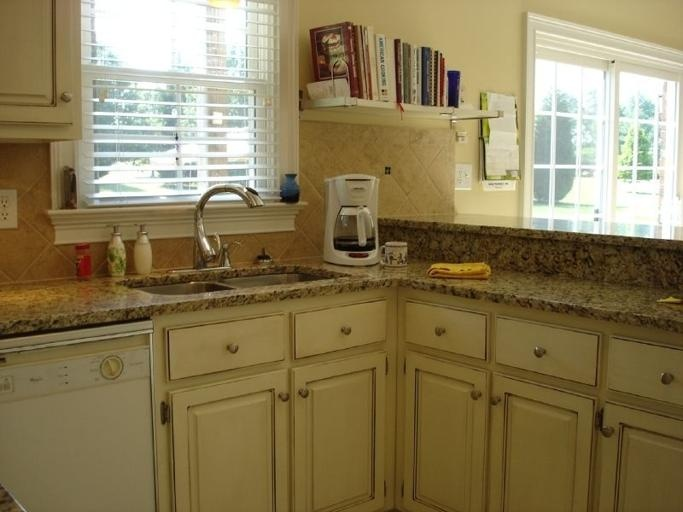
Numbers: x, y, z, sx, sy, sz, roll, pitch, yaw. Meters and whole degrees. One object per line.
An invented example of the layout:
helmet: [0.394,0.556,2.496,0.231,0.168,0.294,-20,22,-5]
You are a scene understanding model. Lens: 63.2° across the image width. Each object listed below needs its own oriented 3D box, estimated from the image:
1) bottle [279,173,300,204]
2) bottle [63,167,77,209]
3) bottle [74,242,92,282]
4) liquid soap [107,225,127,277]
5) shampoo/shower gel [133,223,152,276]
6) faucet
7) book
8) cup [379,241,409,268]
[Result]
bottle: [-0.249,-0.323,2.695,0.108,0.140,0.091,-4,12,-19]
bottle: [-1.083,-0.263,2.200,0.052,0.160,0.031,-7,13,-29]
bottle: [-1.040,0.025,2.230,0.063,0.130,0.083,-6,13,-27]
liquid soap: [-0.926,-0.017,2.271,0.080,0.196,0.113,-5,13,-23]
shampoo/shower gel: [-0.839,-0.026,2.327,0.080,0.198,0.111,-5,12,-21]
faucet: [-0.478,-0.109,2.309,0.411,0.369,0.136,10,16,40]
book: [0.251,-0.944,2.830,0.811,0.377,0.291,-7,14,-27]
cup: [0.240,-0.007,2.540,0.116,0.108,0.097,0,12,3]
